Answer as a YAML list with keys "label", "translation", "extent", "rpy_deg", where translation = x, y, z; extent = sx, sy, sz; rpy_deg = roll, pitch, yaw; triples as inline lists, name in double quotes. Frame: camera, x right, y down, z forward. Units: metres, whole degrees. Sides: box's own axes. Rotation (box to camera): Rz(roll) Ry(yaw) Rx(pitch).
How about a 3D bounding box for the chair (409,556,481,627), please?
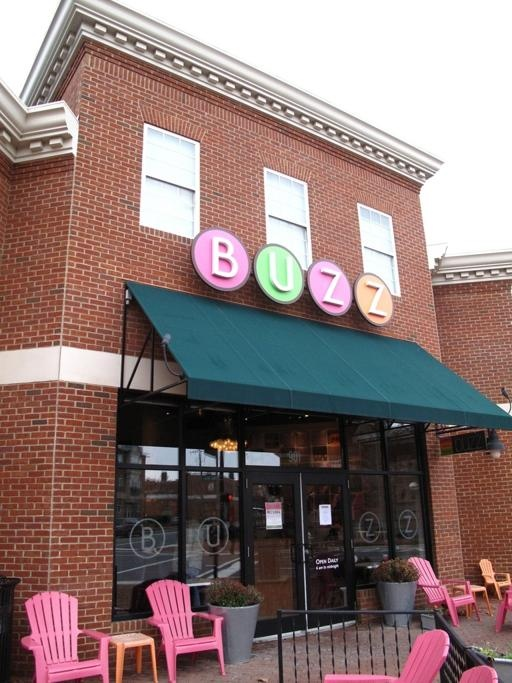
- label: "chair"
  translation: [3.357, 4.432, 10.477]
  extent: [1.035, 1.115, 2.251]
  rpy_deg: [-8, -16, 16]

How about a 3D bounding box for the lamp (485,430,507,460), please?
- label: "lamp"
  translation: [4.429, 1.868, 10.815]
  extent: [0.268, 0.502, 0.650]
  rpy_deg: [-9, -17, 21]
